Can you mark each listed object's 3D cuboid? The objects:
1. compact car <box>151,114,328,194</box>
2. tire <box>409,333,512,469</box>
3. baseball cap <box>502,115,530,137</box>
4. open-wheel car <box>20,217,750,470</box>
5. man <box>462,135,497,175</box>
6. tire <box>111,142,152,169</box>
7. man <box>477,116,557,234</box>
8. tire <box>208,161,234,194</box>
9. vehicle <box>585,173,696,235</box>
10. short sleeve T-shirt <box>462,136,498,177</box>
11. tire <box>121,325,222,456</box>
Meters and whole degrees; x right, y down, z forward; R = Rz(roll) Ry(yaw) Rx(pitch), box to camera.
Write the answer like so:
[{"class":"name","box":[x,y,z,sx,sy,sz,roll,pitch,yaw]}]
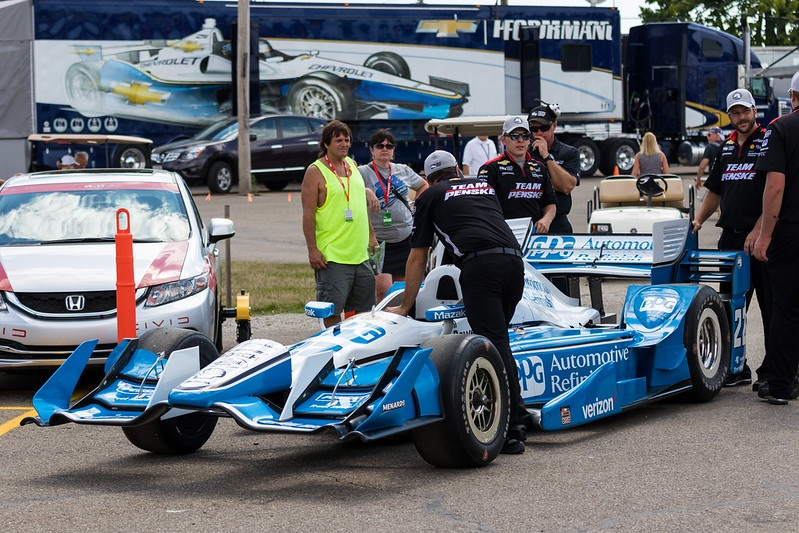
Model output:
[{"class":"compact car","box":[-3.978,-2.802,30.279,4.171,1.614,1.934,-2,4,-37]},{"class":"tire","box":[0.513,1.185,10.842,0.329,0.874,0.852,-8,-28,33]},{"class":"baseball cap","box":[1.258,-1.545,13.579,0.266,0.173,0.335,0,11,7]},{"class":"open-wheel car","box":[0.342,0.722,11.907,6.816,1.773,2.369,-9,13,-34]},{"class":"man","box":[1.495,-1.865,22.233,0.752,0.850,0.407,4,-23,-11]},{"class":"tire","box":[-6.111,-2.552,28.461,0.726,0.563,0.920,-6,12,-25]},{"class":"man","box":[1.323,-0.895,13.793,0.921,1.514,0.825,-2,2,-12]},{"class":"tire","box":[-4.265,-2.169,29.794,0.202,0.662,0.642,13,19,25]},{"class":"vehicle","box":[3.784,-0.832,19.836,1.462,1.087,2.315,0,14,16]},{"class":"short sleeve T-shirt","box":[1.496,-1.875,22.229,0.721,0.848,0.409,1,-28,-10]},{"class":"tire","box":[-2.001,1.114,10.961,0.416,1.163,1.059,-3,-5,30]}]
